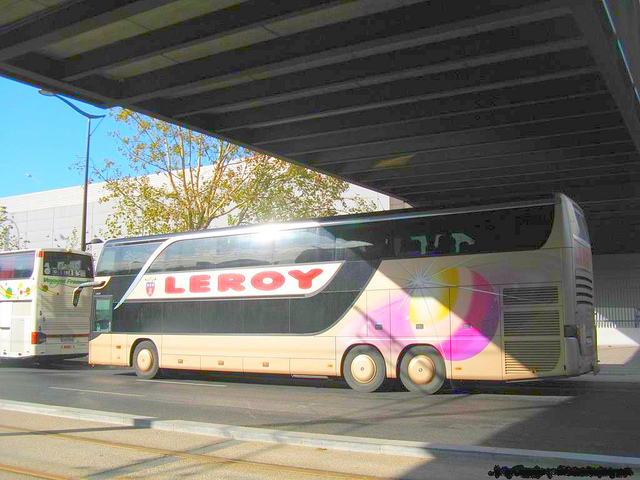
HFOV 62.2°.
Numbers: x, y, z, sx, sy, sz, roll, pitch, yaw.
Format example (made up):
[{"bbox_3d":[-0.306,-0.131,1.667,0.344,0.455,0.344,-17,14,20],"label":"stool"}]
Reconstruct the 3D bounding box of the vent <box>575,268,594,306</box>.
[{"bbox_3d":[6.556,1.217,13.114,1.046,0.662,0.114,10,-10,-42],"label":"vent"}]

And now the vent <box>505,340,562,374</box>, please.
[{"bbox_3d":[4.955,2.695,12.209,0.805,0.585,0.079,-1,-4,29],"label":"vent"}]

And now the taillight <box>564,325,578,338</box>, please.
[{"bbox_3d":[5.699,2.068,12.053,0.364,0.269,0.081,4,-6,-27],"label":"taillight"}]

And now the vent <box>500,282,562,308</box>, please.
[{"bbox_3d":[4.909,1.280,12.371,1.315,0.549,0.072,-2,-6,22],"label":"vent"}]

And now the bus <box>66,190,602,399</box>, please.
[{"bbox_3d":[-0.834,2.054,16.874,16.472,5.315,3.969,-5,-12,26],"label":"bus"}]

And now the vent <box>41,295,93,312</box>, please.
[{"bbox_3d":[-10.289,2.596,21.635,0.339,0.705,1.954,-3,-7,36],"label":"vent"}]

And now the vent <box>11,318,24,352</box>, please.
[{"bbox_3d":[-12.095,3.817,21.267,0.815,1.321,0.155,-3,-7,34],"label":"vent"}]
